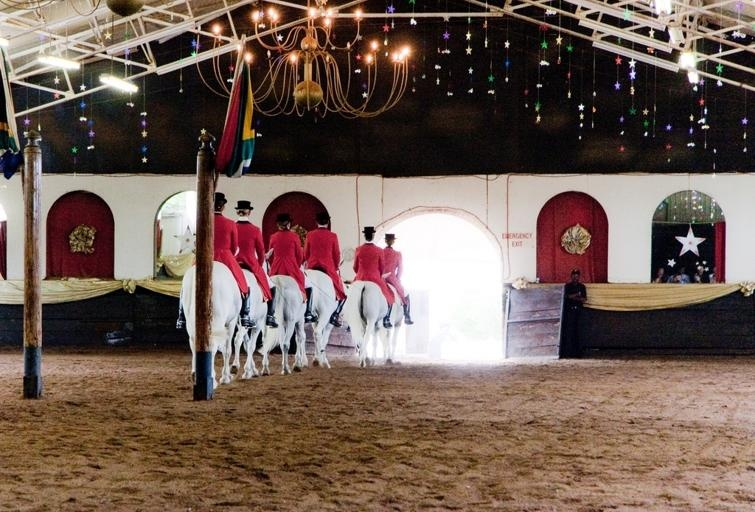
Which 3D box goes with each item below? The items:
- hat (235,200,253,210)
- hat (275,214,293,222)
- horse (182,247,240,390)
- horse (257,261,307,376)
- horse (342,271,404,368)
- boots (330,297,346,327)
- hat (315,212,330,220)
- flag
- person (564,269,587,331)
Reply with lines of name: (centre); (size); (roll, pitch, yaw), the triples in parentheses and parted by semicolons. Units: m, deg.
hat: (-2.427, -0.929, 19.002); (0.317, 0.151, 0.361); (2, 3, 25)
hat: (-1.904, -0.773, 20.724); (0.313, 0.092, 0.321); (-1, 4, 21)
horse: (-2.899, 1.249, 17.787); (0.862, 2.462, 1.500); (3, 14, 9)
horse: (-1.758, 1.197, 20.282); (0.712, 2.231, 2.932); (3, -1, 6)
horse: (-0.069, 1.403, 21.038); (0.606, 1.946, 1.388); (11, 17, 37)
boots: (-0.785, 1.172, 20.242); (0.184, 0.697, 0.201); (16, -13, -9)
hat: (-1.083, -0.792, 20.192); (0.236, 0.171, 0.295); (-1, 15, -9)
flag: (-2.336, -2.299, 17.086); (0.644, 2.236, 0.262); (1, 33, -11)
person: (4.554, 1.012, 23.360); (0.475, 1.292, 0.832); (6, 15, 20)
